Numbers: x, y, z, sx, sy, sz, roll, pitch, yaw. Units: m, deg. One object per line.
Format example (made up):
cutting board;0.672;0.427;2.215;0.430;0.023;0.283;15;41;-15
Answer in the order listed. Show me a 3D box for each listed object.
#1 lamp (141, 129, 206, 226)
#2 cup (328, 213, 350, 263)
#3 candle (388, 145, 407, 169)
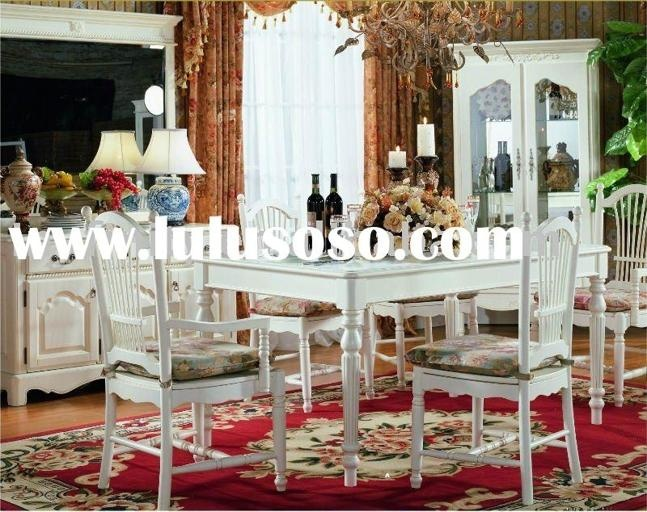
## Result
lamp;-1.013;-0.517;4.706;0.509;0.610;0.466;-1;8;-11
cup;0.070;-0.080;3.149;0.081;0.195;0.123;-1;5;2
candle;0.360;-0.471;3.412;0.073;0.120;0.232;0;4;8
